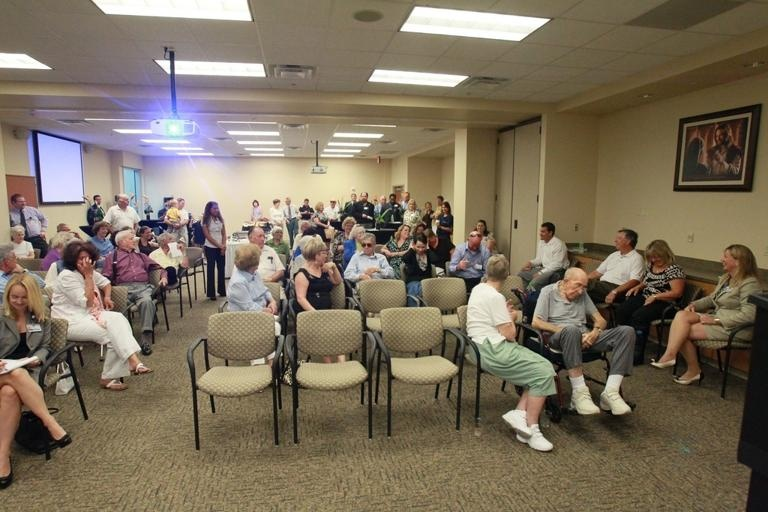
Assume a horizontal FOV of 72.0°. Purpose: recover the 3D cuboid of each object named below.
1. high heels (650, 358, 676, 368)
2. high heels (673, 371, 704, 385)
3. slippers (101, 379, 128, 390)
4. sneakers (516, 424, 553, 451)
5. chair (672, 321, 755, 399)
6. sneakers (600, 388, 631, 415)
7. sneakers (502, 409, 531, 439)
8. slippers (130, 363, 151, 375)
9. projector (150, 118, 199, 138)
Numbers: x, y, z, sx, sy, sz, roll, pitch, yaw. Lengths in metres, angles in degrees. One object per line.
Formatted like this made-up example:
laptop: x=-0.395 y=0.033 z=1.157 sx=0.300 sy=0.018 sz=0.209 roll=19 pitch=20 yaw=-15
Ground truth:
high heels: x=3.539 y=1.359 z=6.663 sx=0.284 sy=0.117 sz=0.156 roll=7 pitch=-4 yaw=3
high heels: x=3.752 y=1.485 z=6.496 sx=0.282 sy=0.118 sz=0.150 roll=1 pitch=-4 yaw=6
slippers: x=-3.229 y=1.513 z=6.300 sx=0.258 sy=0.102 sz=0.141 roll=0 pitch=2 yaw=3
sneakers: x=1.550 y=1.852 z=5.441 sx=0.432 sy=0.211 sz=0.177 roll=6 pitch=9 yaw=45
chair: x=4.107 y=1.236 z=6.538 sx=0.899 sy=1.275 sz=0.771 roll=1 pitch=-2 yaw=-17
sneakers: x=2.456 y=1.559 z=5.578 sx=0.301 sy=0.287 sz=0.213 roll=4 pitch=8 yaw=27
sneakers: x=1.390 y=1.714 z=5.548 sx=0.188 sy=0.147 sz=0.372 roll=-40 pitch=40 yaw=-14
slippers: x=-3.053 y=1.400 z=6.569 sx=0.269 sy=0.097 sz=0.100 roll=-1 pitch=-1 yaw=11
projector: x=-3.188 y=-1.919 z=8.029 sx=0.513 sy=0.186 sz=0.503 roll=0 pitch=3 yaw=-17
